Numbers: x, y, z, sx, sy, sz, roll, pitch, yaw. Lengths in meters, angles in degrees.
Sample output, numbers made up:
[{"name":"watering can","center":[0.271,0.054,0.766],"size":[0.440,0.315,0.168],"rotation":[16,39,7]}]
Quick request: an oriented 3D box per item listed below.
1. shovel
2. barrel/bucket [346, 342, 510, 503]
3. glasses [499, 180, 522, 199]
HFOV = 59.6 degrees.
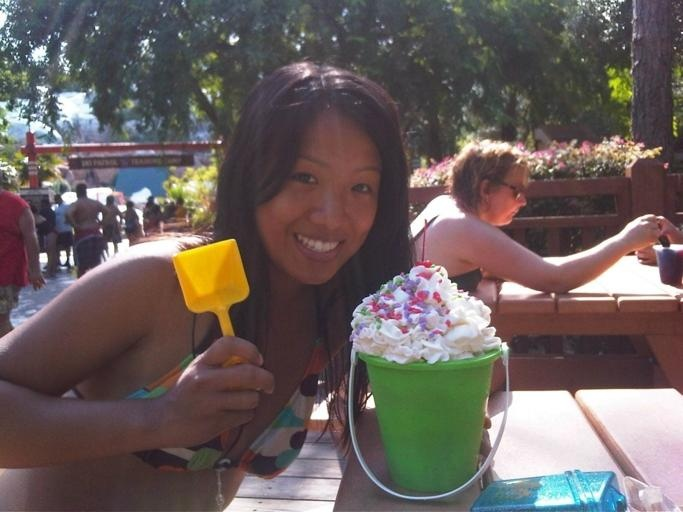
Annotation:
[{"name":"shovel","center":[-0.326,0.074,1.492],"size":[0.162,0.233,0.090],"rotation":[3,7,14]},{"name":"barrel/bucket","center":[0.196,0.319,1.516],"size":[0.333,0.313,0.371],"rotation":[1,14,2]},{"name":"glasses","center":[0.956,-0.374,3.383],"size":[0.102,0.032,0.097],"rotation":[46,20,31]}]
